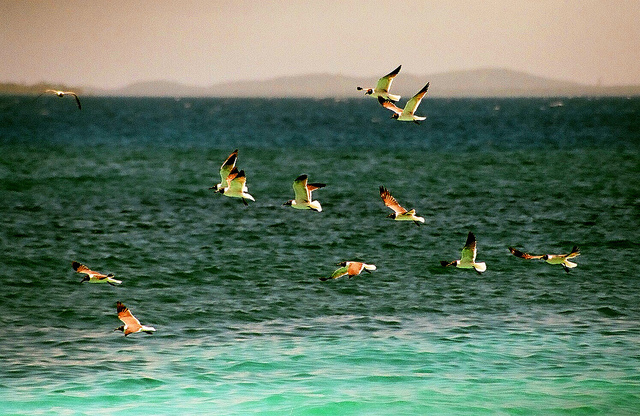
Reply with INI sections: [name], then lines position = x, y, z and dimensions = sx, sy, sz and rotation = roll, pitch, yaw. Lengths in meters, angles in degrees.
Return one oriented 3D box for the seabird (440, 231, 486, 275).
[seabird]
position = 9.896, 2.740, 80.266
dimensions = 1.891, 2.545, 3.168
rotation = 2, 5, 1
